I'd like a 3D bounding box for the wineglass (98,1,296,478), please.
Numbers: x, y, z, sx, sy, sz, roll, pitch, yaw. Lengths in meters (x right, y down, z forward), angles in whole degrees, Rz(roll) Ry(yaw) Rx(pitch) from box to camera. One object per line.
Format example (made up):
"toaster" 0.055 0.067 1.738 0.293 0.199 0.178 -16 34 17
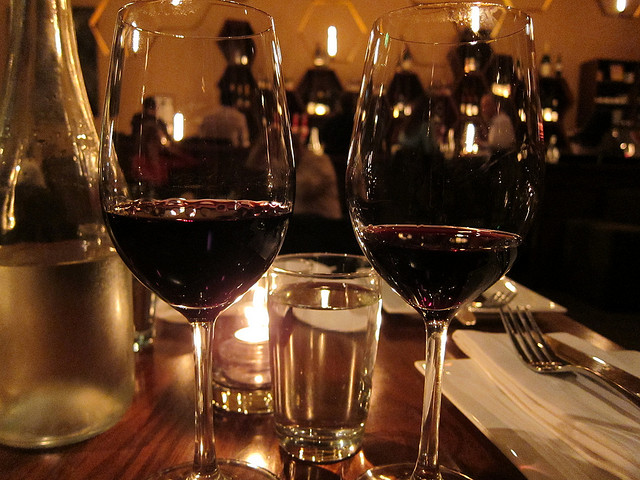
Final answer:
"wineglass" -0.120 0.004 0.600 0.181 0.450 0.121 3 13 1

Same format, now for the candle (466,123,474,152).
"candle" 0.141 -0.096 0.579 0.007 0.026 0.006 8 14 19

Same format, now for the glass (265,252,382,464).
"glass" 0.007 0.122 0.709 0.128 0.218 0.135 4 8 6

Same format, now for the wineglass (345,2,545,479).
"wineglass" 0.110 0.001 0.600 0.185 0.445 0.105 8 14 20
